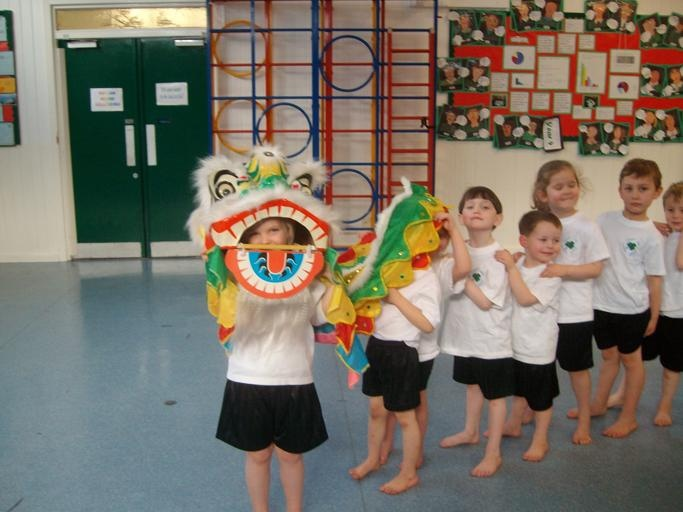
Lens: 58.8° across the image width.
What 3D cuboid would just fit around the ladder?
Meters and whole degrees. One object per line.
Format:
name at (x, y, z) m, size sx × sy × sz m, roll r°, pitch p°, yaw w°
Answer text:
ladder at (0.675, -1.377, 5.871) m, size 0.528 × 1.563 × 0.676 m, roll 1°, pitch 15°, yaw 3°

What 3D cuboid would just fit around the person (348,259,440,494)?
person at (0.226, 0.503, 2.578) m, size 0.359 × 0.924 × 0.342 m, roll 3°, pitch 15°, yaw 9°
